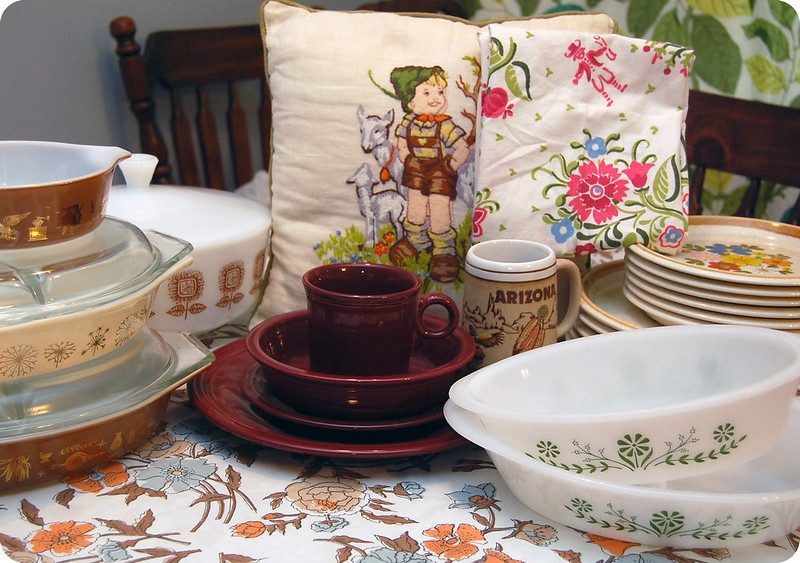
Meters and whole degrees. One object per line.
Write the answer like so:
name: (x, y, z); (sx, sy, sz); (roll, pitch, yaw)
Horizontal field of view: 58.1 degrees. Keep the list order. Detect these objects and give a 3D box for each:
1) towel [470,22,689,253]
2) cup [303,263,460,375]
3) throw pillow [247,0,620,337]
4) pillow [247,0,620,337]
towel: (0.247, -0.192, 0.968); (0.328, 0.295, 0.096); (-1, 7, -9)
cup: (-0.031, 0.050, 0.860); (0.176, 0.111, 0.139); (2, 12, -5)
throw pillow: (0.049, -0.145, 0.974); (0.559, 0.451, 0.178); (0, 11, 4)
pillow: (0.049, -0.145, 0.974); (0.559, 0.451, 0.178); (0, 11, 4)
